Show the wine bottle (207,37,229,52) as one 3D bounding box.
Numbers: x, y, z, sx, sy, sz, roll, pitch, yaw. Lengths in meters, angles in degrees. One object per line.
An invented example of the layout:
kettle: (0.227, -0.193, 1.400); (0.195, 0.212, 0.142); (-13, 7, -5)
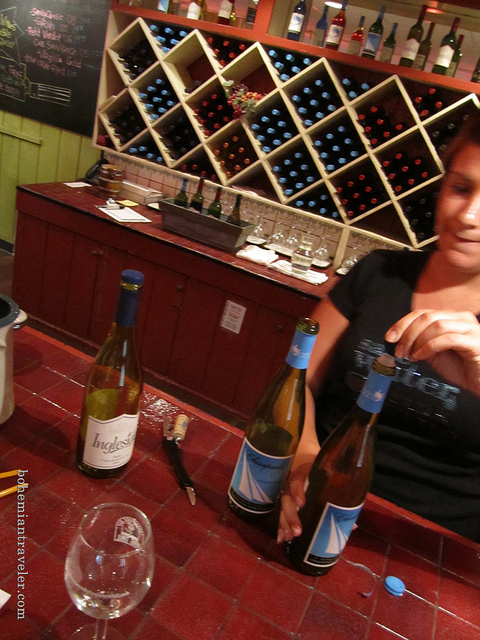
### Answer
wine bottle: (-0.120, -1.679, 3.000); (0.117, 0.069, 0.058); (4, 26, -30)

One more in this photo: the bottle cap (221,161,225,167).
bottle cap: (-0.109, -0.989, 3.132); (0.031, 0.027, 0.028); (5, 3, -4)

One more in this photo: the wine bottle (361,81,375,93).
wine bottle: (0.704, -1.286, 2.708); (0.087, 0.038, 0.117); (22, 36, 1)

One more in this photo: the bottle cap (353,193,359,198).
bottle cap: (0.673, -0.715, 2.848); (0.033, 0.026, 0.036); (19, 22, 3)

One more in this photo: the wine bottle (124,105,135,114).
wine bottle: (-0.774, -1.465, 3.440); (0.046, 0.068, 0.121); (17, 21, -5)

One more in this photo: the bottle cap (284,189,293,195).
bottle cap: (0.292, -0.766, 2.961); (0.043, 0.028, 0.043); (-6, 8, 45)

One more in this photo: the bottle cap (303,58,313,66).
bottle cap: (0.370, -1.409, 2.696); (0.048, 0.028, 0.025); (22, 23, -29)

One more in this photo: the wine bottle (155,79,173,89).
wine bottle: (-0.496, -1.550, 3.227); (0.078, 0.048, 0.126); (25, 22, 18)

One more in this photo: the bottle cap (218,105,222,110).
bottle cap: (-0.123, -1.315, 3.062); (0.026, 0.022, 0.060); (15, 21, -7)

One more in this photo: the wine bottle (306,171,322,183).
wine bottle: (0.446, -0.851, 2.966); (0.032, 0.084, 0.082); (54, 3, 6)

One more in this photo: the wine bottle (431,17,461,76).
wine bottle: (1.073, -1.405, 2.543); (0.077, 0.268, 0.073); (11, 25, -5)

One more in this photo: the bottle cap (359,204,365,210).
bottle cap: (0.697, -0.636, 2.806); (0.028, 0.022, 0.026); (2, 5, -2)

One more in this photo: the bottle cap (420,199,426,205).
bottle cap: (1.027, -0.661, 2.765); (0.029, 0.025, 0.006); (-2, 11, 4)

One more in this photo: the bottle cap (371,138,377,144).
bottle cap: (0.736, -0.980, 2.713); (0.035, 0.016, 0.033); (-2, 6, -22)

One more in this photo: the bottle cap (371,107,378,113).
bottle cap: (0.751, -1.172, 2.759); (0.030, 0.024, 0.029); (-2, 9, -39)

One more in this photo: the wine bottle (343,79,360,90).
wine bottle: (0.627, -1.332, 2.792); (0.061, 0.058, 0.153); (-28, 10, 24)

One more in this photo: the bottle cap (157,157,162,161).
bottle cap: (-0.555, -1.109, 3.420); (0.031, 0.017, 0.029); (13, 16, 0)

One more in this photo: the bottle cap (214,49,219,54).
bottle cap: (-0.144, -1.650, 3.037); (0.030, 0.026, 0.015); (9, 46, 2)

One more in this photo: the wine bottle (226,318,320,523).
wine bottle: (0.060, 0.159, 0.771); (0.091, 0.351, 0.103); (19, 21, 14)

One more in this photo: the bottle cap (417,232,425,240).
bottle cap: (1.008, -0.463, 2.752); (0.043, 0.038, 0.025); (33, 26, 34)

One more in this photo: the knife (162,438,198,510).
knife: (-0.096, 0.255, 0.837); (0.028, 0.010, 0.179); (-2, 23, -17)

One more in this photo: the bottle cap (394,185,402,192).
bottle cap: (0.873, -0.721, 2.720); (0.035, 0.034, 0.032); (35, -26, -4)

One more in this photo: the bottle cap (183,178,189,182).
bottle cap: (-0.336, -0.866, 3.064); (0.037, 0.037, 0.040); (2, 15, 1)

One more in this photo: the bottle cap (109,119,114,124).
bottle cap: (-0.904, -1.395, 3.469); (0.029, 0.025, 0.038); (17, 21, -3)

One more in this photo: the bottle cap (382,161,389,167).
bottle cap: (0.835, -0.890, 2.822); (0.036, 0.037, 0.044); (21, 22, 7)

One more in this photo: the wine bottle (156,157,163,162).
wine bottle: (-0.555, -1.101, 3.397); (0.037, 0.027, 0.081); (11, 22, -17)

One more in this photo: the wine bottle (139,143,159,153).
wine bottle: (-0.631, -1.195, 3.439); (0.131, 0.073, 0.099); (9, 23, -20)

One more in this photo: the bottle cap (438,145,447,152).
bottle cap: (1.101, -0.931, 2.684); (0.036, 0.031, 0.025); (1, -12, -7)

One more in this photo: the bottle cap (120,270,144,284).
bottle cap: (-0.135, -0.055, 0.614); (0.022, 0.007, 0.021); (-8, 31, -43)

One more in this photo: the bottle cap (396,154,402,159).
bottle cap: (0.884, -0.906, 2.738); (0.026, 0.023, 0.019); (0, 5, 30)

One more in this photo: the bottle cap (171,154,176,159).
bottle cap: (-0.445, -1.087, 3.304); (0.027, 0.029, 0.045); (4, 9, -3)

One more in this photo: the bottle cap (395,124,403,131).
bottle cap: (0.869, -1.038, 2.669); (0.044, 0.036, 0.023); (11, 24, -16)

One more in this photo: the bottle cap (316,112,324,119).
bottle cap: (0.461, -1.157, 2.814); (0.031, 0.035, 0.014); (-11, -14, 6)

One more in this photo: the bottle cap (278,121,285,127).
bottle cap: (0.247, -1.161, 2.928); (0.047, 0.053, 0.022); (-1, -9, 3)

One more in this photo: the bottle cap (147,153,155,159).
bottle cap: (-0.616, -1.132, 3.411); (0.040, 0.039, 0.061); (21, 22, 6)

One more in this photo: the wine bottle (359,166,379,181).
wine bottle: (0.768, -0.847, 2.909); (0.036, 0.122, 0.146); (15, 20, 34)

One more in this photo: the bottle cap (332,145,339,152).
bottle cap: (0.544, -0.972, 2.812); (0.032, 0.033, 0.038); (3, -4, 0)

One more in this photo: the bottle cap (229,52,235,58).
bottle cap: (-0.046, -1.588, 2.962); (0.034, 0.028, 0.042); (14, 22, -9)

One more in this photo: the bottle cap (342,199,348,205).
bottle cap: (0.616, -0.680, 2.872); (0.029, 0.024, 0.029); (10, 10, -46)

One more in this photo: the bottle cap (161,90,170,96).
bottle cap: (-0.485, -1.490, 3.234); (0.041, 0.017, 0.054); (0, 13, -20)

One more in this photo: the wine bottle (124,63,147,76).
wine bottle: (-0.713, -1.692, 3.321); (0.130, 0.072, 0.071); (15, 22, -4)

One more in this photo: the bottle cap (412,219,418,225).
bottle cap: (0.982, -0.544, 2.766); (0.030, 0.029, 0.040); (26, 23, 18)

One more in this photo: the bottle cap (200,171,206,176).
bottle cap: (-0.235, -0.942, 3.179); (0.030, 0.034, 0.030); (24, 59, 32)

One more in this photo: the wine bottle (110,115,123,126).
wine bottle: (-0.874, -1.402, 3.473); (0.080, 0.060, 0.034); (11, 24, -16)

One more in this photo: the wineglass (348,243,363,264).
wineglass: (0.701, -0.390, 2.935); (0.069, 0.109, 0.098); (10, 23, -21)
